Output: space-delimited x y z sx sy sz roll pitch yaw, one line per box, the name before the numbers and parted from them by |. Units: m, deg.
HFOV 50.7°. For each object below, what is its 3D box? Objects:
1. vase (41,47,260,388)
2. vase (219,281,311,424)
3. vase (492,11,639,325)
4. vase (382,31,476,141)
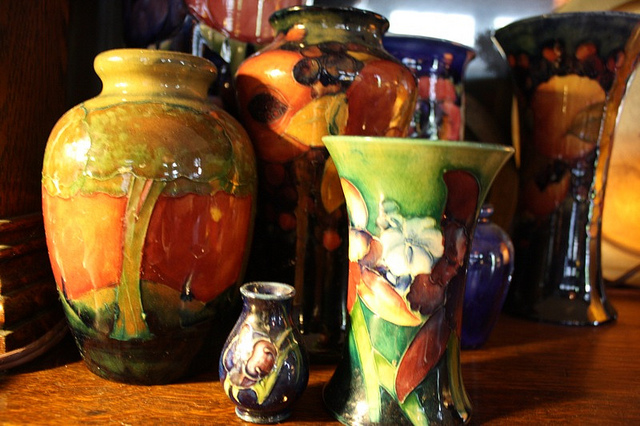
vase | -0.269 -0.009 1.073 0.305 0.484 0.307 4 6 13
vase | -0.076 0.195 0.944 0.123 0.172 0.098 2 15 0
vase | 0.440 -0.079 1.240 0.279 0.559 0.139 6 15 15
vase | 0.200 -0.204 1.307 0.188 0.260 0.214 6 4 11
